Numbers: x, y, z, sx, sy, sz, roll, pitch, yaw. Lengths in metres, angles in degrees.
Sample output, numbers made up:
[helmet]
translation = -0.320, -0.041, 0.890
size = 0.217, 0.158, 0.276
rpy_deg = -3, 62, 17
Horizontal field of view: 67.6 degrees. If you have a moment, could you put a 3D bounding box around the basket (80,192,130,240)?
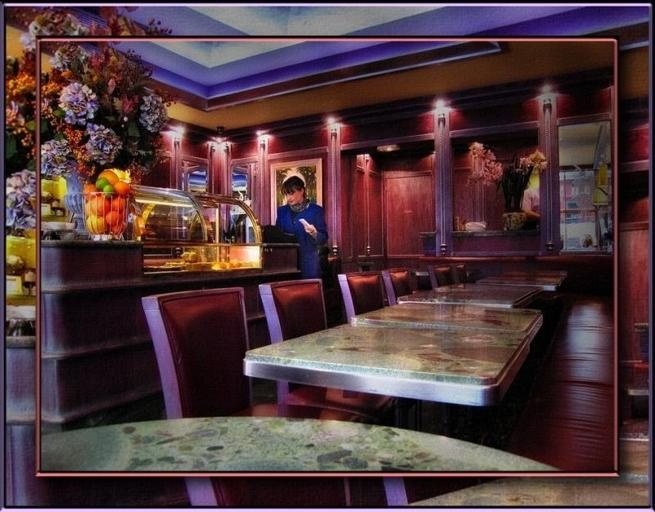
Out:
[basket]
translation = -1.168, -0.199, 2.659
size = 0.243, 0.250, 0.241
rpy_deg = 1, -4, -13

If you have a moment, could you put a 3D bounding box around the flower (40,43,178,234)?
[flower]
translation = -1.259, -0.631, 3.266
size = 0.992, 1.440, 0.884
rpy_deg = -1, 4, -26

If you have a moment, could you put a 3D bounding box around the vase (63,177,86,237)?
[vase]
translation = -1.384, -0.286, 2.642
size = 0.105, 0.294, 0.108
rpy_deg = 6, 15, 25
